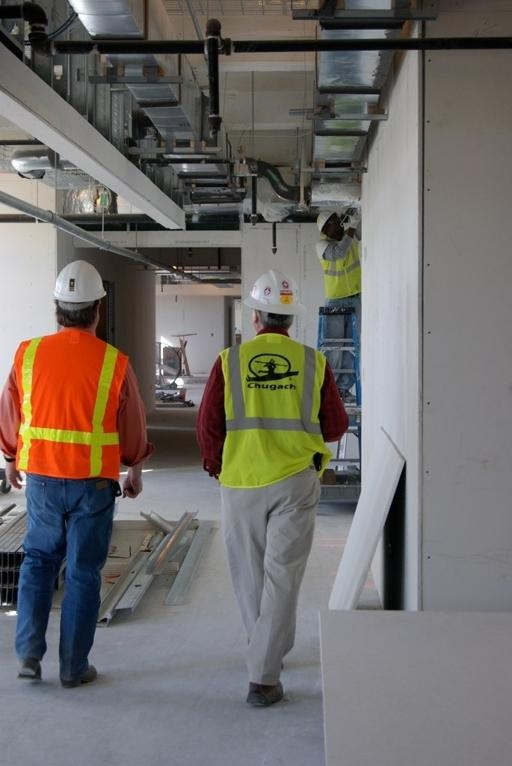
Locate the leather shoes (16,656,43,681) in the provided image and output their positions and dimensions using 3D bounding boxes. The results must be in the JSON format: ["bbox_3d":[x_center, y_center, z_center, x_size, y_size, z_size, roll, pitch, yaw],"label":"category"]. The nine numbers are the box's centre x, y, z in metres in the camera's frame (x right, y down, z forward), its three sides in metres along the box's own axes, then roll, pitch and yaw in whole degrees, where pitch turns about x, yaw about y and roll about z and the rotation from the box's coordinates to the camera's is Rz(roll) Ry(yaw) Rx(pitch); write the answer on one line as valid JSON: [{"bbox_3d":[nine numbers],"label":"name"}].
[{"bbox_3d":[-0.838,1.055,2.894,0.050,0.052,0.123,2,-3,-3],"label":"leather shoes"}]

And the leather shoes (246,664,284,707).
[{"bbox_3d":[0.036,1.094,2.796,0.061,0.072,0.158,0,-4,18],"label":"leather shoes"}]

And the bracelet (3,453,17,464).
[{"bbox_3d":[-0.981,0.301,3.093,0.047,0.047,0.047,-2,1,36],"label":"bracelet"}]

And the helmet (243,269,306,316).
[{"bbox_3d":[0.071,-0.360,3.053,0.165,0.110,0.198,7,8,-11],"label":"helmet"}]

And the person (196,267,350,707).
[{"bbox_3d":[0.061,0.352,2.955,0.411,1.547,0.484,3,5,43],"label":"person"}]

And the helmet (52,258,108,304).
[{"bbox_3d":[-0.691,-0.405,3.096,0.151,0.125,0.202,1,11,-5],"label":"helmet"}]
